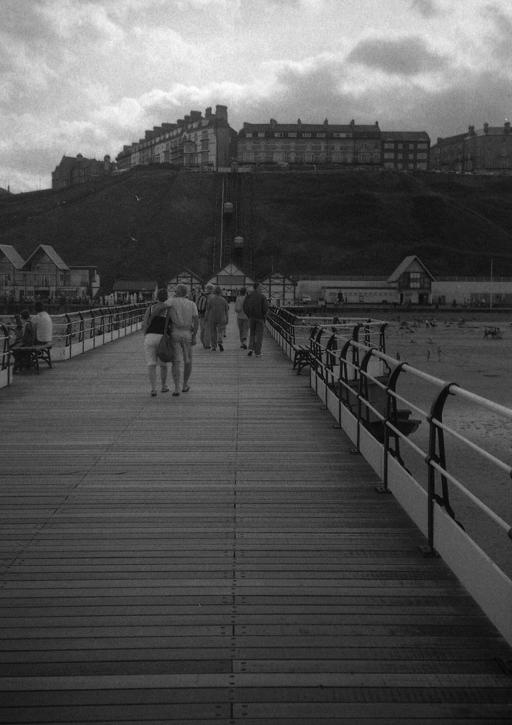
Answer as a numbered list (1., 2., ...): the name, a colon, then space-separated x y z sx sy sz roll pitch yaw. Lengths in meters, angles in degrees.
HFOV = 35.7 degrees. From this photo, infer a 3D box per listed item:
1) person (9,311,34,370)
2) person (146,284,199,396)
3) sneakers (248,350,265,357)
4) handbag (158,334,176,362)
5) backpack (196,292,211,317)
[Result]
1. person: -4.327 -0.433 14.564 0.232 1.053 0.289 20 14 21
2. person: -1.118 -0.134 10.921 0.670 0.802 2.267 -1 39 -1
3. sneakers: -0.077 -0.190 18.435 0.158 0.175 0.430 -3 2 -15
4. handbag: -1.203 -0.166 10.713 0.211 0.600 0.417 -1 0 4
5. backpack: -1.293 -1.434 19.251 0.297 0.536 0.184 2 49 0
